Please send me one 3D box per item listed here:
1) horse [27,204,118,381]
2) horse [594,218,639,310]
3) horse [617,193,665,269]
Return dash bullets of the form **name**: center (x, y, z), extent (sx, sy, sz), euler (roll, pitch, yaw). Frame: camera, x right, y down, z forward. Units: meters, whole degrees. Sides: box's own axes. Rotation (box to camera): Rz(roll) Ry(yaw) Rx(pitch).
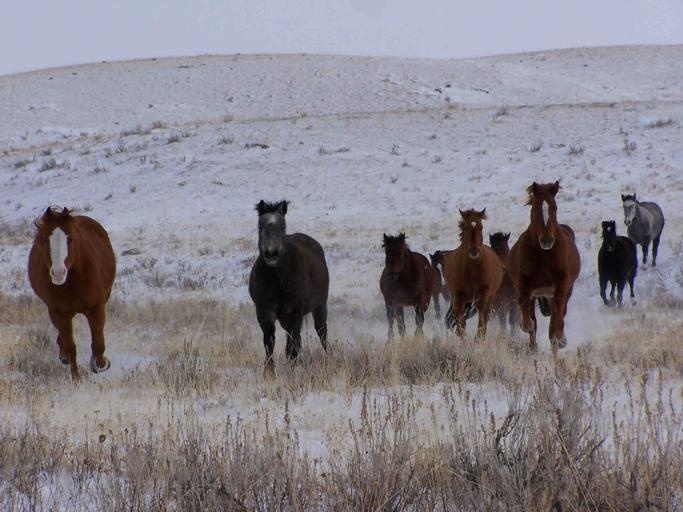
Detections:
- **horse**: center (-6.863, 0.752, 24.011), extent (2.742, 4.300, 2.795), euler (3, 8, 43)
- **horse**: center (8.854, 0.162, 29.140), extent (1.051, 2.592, 1.868), euler (1, 6, 29)
- **horse**: center (10.533, -0.750, 31.588), extent (0.933, 2.791, 3.402), euler (1, 4, 34)
